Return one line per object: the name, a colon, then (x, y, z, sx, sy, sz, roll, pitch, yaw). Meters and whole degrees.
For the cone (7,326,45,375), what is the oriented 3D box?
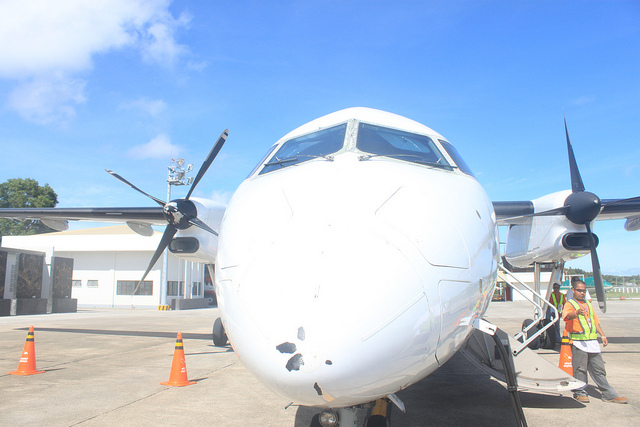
cone: (-7.015, 3.223, 9.582, 1.040, 1.019, 1.003, -4, -15, 18)
